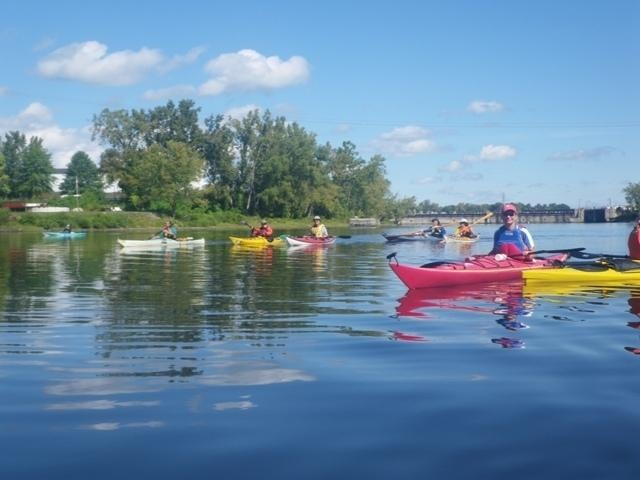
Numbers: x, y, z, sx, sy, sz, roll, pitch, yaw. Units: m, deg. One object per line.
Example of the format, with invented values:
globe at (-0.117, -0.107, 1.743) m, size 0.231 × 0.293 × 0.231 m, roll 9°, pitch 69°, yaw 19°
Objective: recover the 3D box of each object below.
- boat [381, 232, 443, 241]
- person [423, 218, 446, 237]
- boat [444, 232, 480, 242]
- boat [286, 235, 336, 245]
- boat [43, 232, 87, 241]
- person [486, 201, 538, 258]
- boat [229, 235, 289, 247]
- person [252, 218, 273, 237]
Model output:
boat at (5.042, -0.264, 46.431) m, size 2.891 × 0.300 × 0.921 m, roll -3°, pitch -9°, yaw 28°
person at (5.994, -0.576, 45.123) m, size 1.042 × 0.487 × 1.294 m, roll -1°, pitch 6°, yaw 5°
boat at (7.512, -0.129, 43.805) m, size 2.425 × 0.301 × 0.627 m, roll -3°, pitch 8°, yaw -33°
boat at (-0.331, 0.025, 42.183) m, size 0.718 × 0.305 × 2.984 m, roll 6°, pitch 7°, yaw 42°
boat at (-15.856, -0.271, 53.421) m, size 1.729 × 0.233 × 2.027 m, roll 0°, pitch -3°, yaw 2°
person at (4.615, -0.251, 20.996) m, size 1.010 × 1.265 × 1.106 m, roll -3°, pitch -4°, yaw 9°
boat at (-2.611, 0.087, 41.775) m, size 3.331 × 0.460 × 0.818 m, roll 2°, pitch 0°, yaw -7°
person at (-2.898, -0.540, 42.038) m, size 0.890 × 0.972 × 2.573 m, roll -2°, pitch -3°, yaw -6°
